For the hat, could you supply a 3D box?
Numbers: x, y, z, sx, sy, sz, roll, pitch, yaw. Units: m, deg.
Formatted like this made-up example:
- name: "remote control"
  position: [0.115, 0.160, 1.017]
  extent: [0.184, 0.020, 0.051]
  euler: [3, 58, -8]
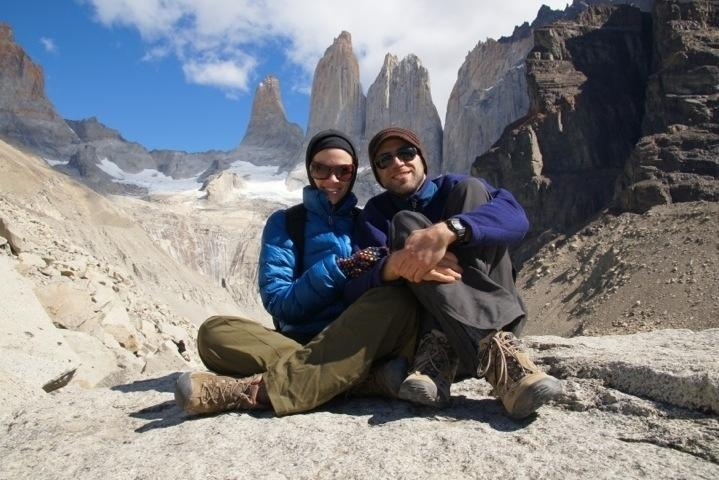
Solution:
- name: "hat"
  position: [0.384, -0.933, 6.609]
  extent: [0.551, 0.675, 0.259]
  euler: [-13, -2, 2]

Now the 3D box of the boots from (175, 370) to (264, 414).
- name: "boots"
  position: [-1.381, 1.462, 5.767]
  extent: [1.041, 0.345, 0.422]
  euler: [-2, -1, -10]

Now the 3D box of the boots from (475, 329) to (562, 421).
- name: "boots"
  position: [1.563, 1.269, 5.881]
  extent: [0.634, 0.637, 1.353]
  euler: [-14, 3, -5]

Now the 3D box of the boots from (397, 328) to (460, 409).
- name: "boots"
  position: [0.753, 1.206, 5.932]
  extent: [0.435, 0.492, 1.210]
  euler: [11, 13, 19]

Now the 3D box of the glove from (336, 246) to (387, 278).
- name: "glove"
  position: [0.039, 0.192, 6.027]
  extent: [0.449, 0.136, 0.276]
  euler: [-32, 43, 1]
